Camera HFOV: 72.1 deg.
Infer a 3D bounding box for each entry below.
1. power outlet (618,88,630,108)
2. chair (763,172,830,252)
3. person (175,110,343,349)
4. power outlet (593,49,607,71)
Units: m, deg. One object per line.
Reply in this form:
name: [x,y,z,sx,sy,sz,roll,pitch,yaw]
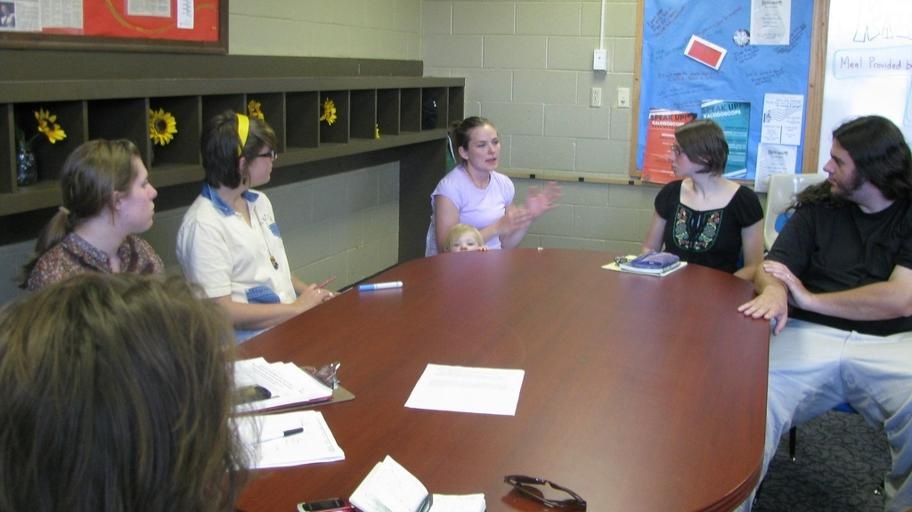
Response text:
power outlet: [1.408,-1.318,5.255,0.101,0.168,0.030,-1,16,9]
chair: [2.178,-0.250,3.947,0.372,0.514,0.456,8,8,13]
person: [-0.931,-0.136,3.101,0.744,1.033,0.744,6,16,3]
power outlet: [1.216,-1.637,5.253,0.114,0.182,0.046,-3,15,-1]
